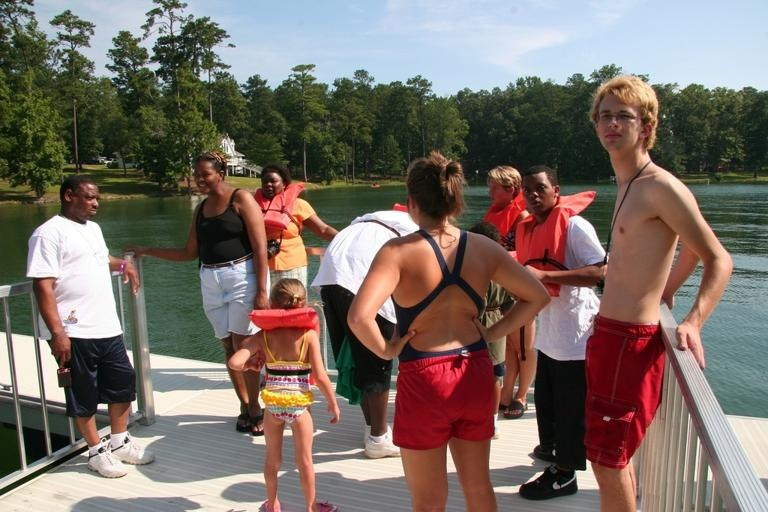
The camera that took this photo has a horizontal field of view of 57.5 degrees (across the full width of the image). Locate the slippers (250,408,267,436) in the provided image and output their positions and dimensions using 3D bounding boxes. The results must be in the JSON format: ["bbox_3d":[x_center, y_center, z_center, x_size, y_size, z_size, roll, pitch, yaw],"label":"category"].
[{"bbox_3d":[-1.188,1.585,6.554,0.123,0.108,0.356,-1,3,-8],"label":"slippers"}]

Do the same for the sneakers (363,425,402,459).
[{"bbox_3d":[0.015,1.709,6.264,0.387,0.226,0.203,12,-18,-31],"label":"sneakers"}]

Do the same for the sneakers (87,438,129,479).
[{"bbox_3d":[-2.361,1.743,6.047,0.413,0.224,0.191,20,18,8],"label":"sneakers"}]

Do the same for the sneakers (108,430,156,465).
[{"bbox_3d":[-2.215,1.700,6.154,0.449,0.206,0.192,1,8,14],"label":"sneakers"}]

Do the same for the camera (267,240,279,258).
[{"bbox_3d":[-1.185,-0.075,7.496,0.170,0.163,0.145,-6,8,-28],"label":"camera"}]

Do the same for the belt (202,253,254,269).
[{"bbox_3d":[-1.481,0.047,6.576,0.491,0.129,0.141,-1,5,14],"label":"belt"}]

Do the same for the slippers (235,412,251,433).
[{"bbox_3d":[-1.321,1.593,6.590,0.088,0.092,0.237,2,5,-3],"label":"slippers"}]

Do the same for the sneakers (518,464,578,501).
[{"bbox_3d":[1.336,1.834,5.663,0.518,0.218,0.206,-2,6,-6],"label":"sneakers"}]

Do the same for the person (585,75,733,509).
[{"bbox_3d":[1.798,0.337,4.717,0.844,3.199,0.751,0,6,21],"label":"person"}]

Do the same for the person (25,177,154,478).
[{"bbox_3d":[-2.498,0.778,5.926,0.836,2.242,0.392,-5,6,-27],"label":"person"}]

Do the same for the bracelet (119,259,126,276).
[{"bbox_3d":[-2.389,0.095,6.390,0.089,0.116,0.060,-2,-7,42],"label":"bracelet"}]
